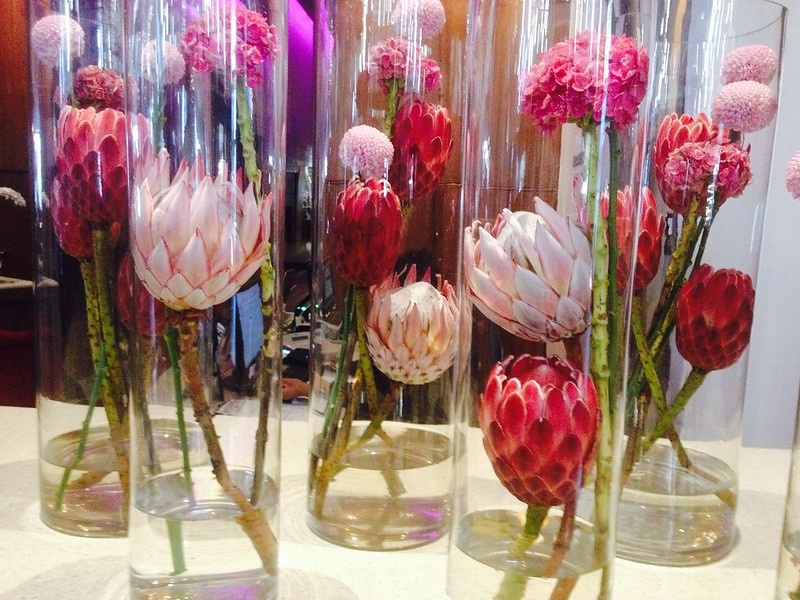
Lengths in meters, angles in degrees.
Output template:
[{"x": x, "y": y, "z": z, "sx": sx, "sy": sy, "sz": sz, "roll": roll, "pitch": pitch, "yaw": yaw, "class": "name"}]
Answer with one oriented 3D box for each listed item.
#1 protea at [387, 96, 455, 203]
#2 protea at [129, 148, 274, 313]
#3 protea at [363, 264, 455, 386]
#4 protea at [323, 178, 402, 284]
[{"x": 0.018, "y": -0.128, "z": 0.592, "sx": 0.053, "sy": 0.086, "sz": 0.009, "roll": -1, "pitch": 8, "yaw": -5, "class": "protea"}, {"x": -0.131, "y": -0.047, "z": 0.465, "sx": 0.081, "sy": 0.109, "sz": 0.024, "roll": -2, "pitch": 9, "yaw": -11, "class": "protea"}, {"x": 0.010, "y": 0.024, "z": 0.608, "sx": 0.078, "sy": 0.109, "sz": 0.019, "roll": -1, "pitch": 8, "yaw": -5, "class": "protea"}, {"x": -0.029, "y": -0.062, "z": 0.623, "sx": 0.059, "sy": 0.101, "sz": 0.065, "roll": 7, "pitch": 9, "yaw": 40, "class": "protea"}]
